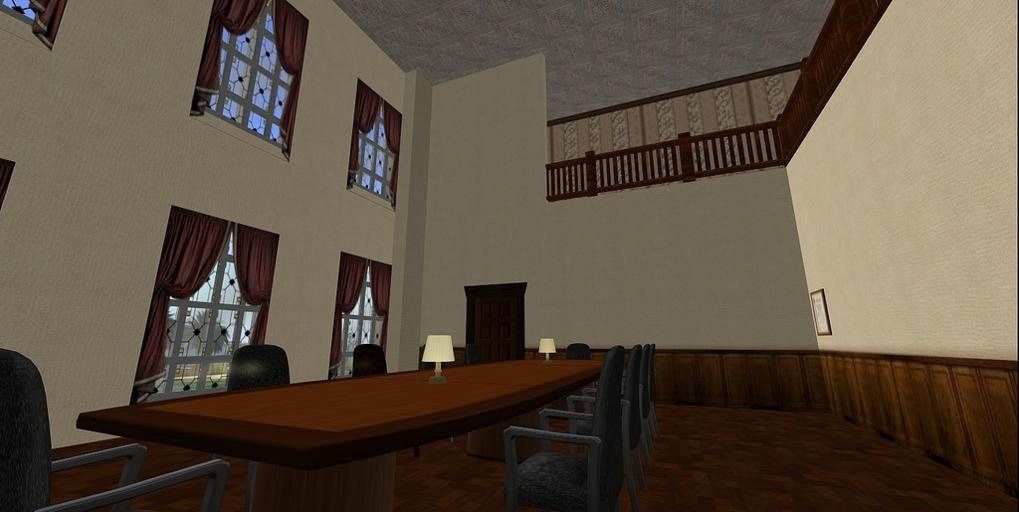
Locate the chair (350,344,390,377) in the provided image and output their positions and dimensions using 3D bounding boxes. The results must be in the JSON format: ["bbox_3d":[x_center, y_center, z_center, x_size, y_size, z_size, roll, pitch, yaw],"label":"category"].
[{"bbox_3d":[-2.254,1.658,7.974,0.525,0.725,0.555,3,-9,-26],"label":"chair"}]
